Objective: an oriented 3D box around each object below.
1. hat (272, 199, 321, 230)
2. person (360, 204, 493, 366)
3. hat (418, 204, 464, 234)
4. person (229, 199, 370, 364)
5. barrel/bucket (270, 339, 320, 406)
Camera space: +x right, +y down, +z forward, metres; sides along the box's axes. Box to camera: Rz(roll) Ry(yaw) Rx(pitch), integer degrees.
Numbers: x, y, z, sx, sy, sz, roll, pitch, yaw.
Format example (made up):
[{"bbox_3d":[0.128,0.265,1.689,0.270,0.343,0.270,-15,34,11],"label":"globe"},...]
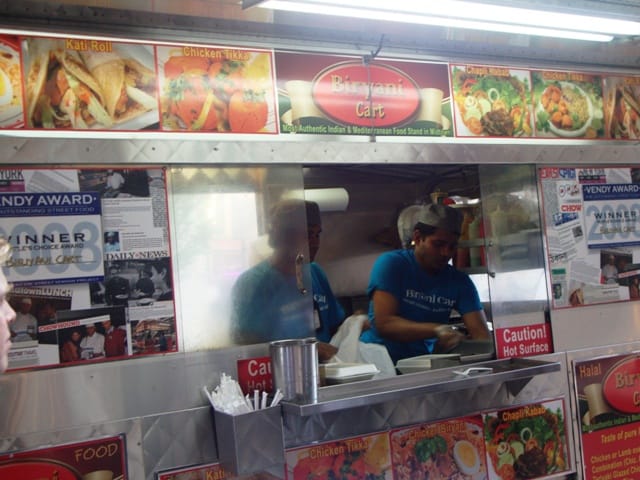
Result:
[{"bbox_3d":[-0.125,-0.121,2.833,0.189,0.129,0.149,-7,-5,18],"label":"hat"},{"bbox_3d":[0.545,0.275,3.158,0.611,1.010,0.604,1,6,-23],"label":"person"},{"bbox_3d":[0.709,-0.131,3.115,0.209,0.111,0.157,7,-3,37],"label":"hat"},{"bbox_3d":[-0.167,0.229,2.794,0.636,0.726,0.156,-4,-1,-38],"label":"person"},{"bbox_3d":[-0.109,0.636,2.574,0.192,0.271,0.247,-3,-3,4],"label":"barrel/bucket"}]
